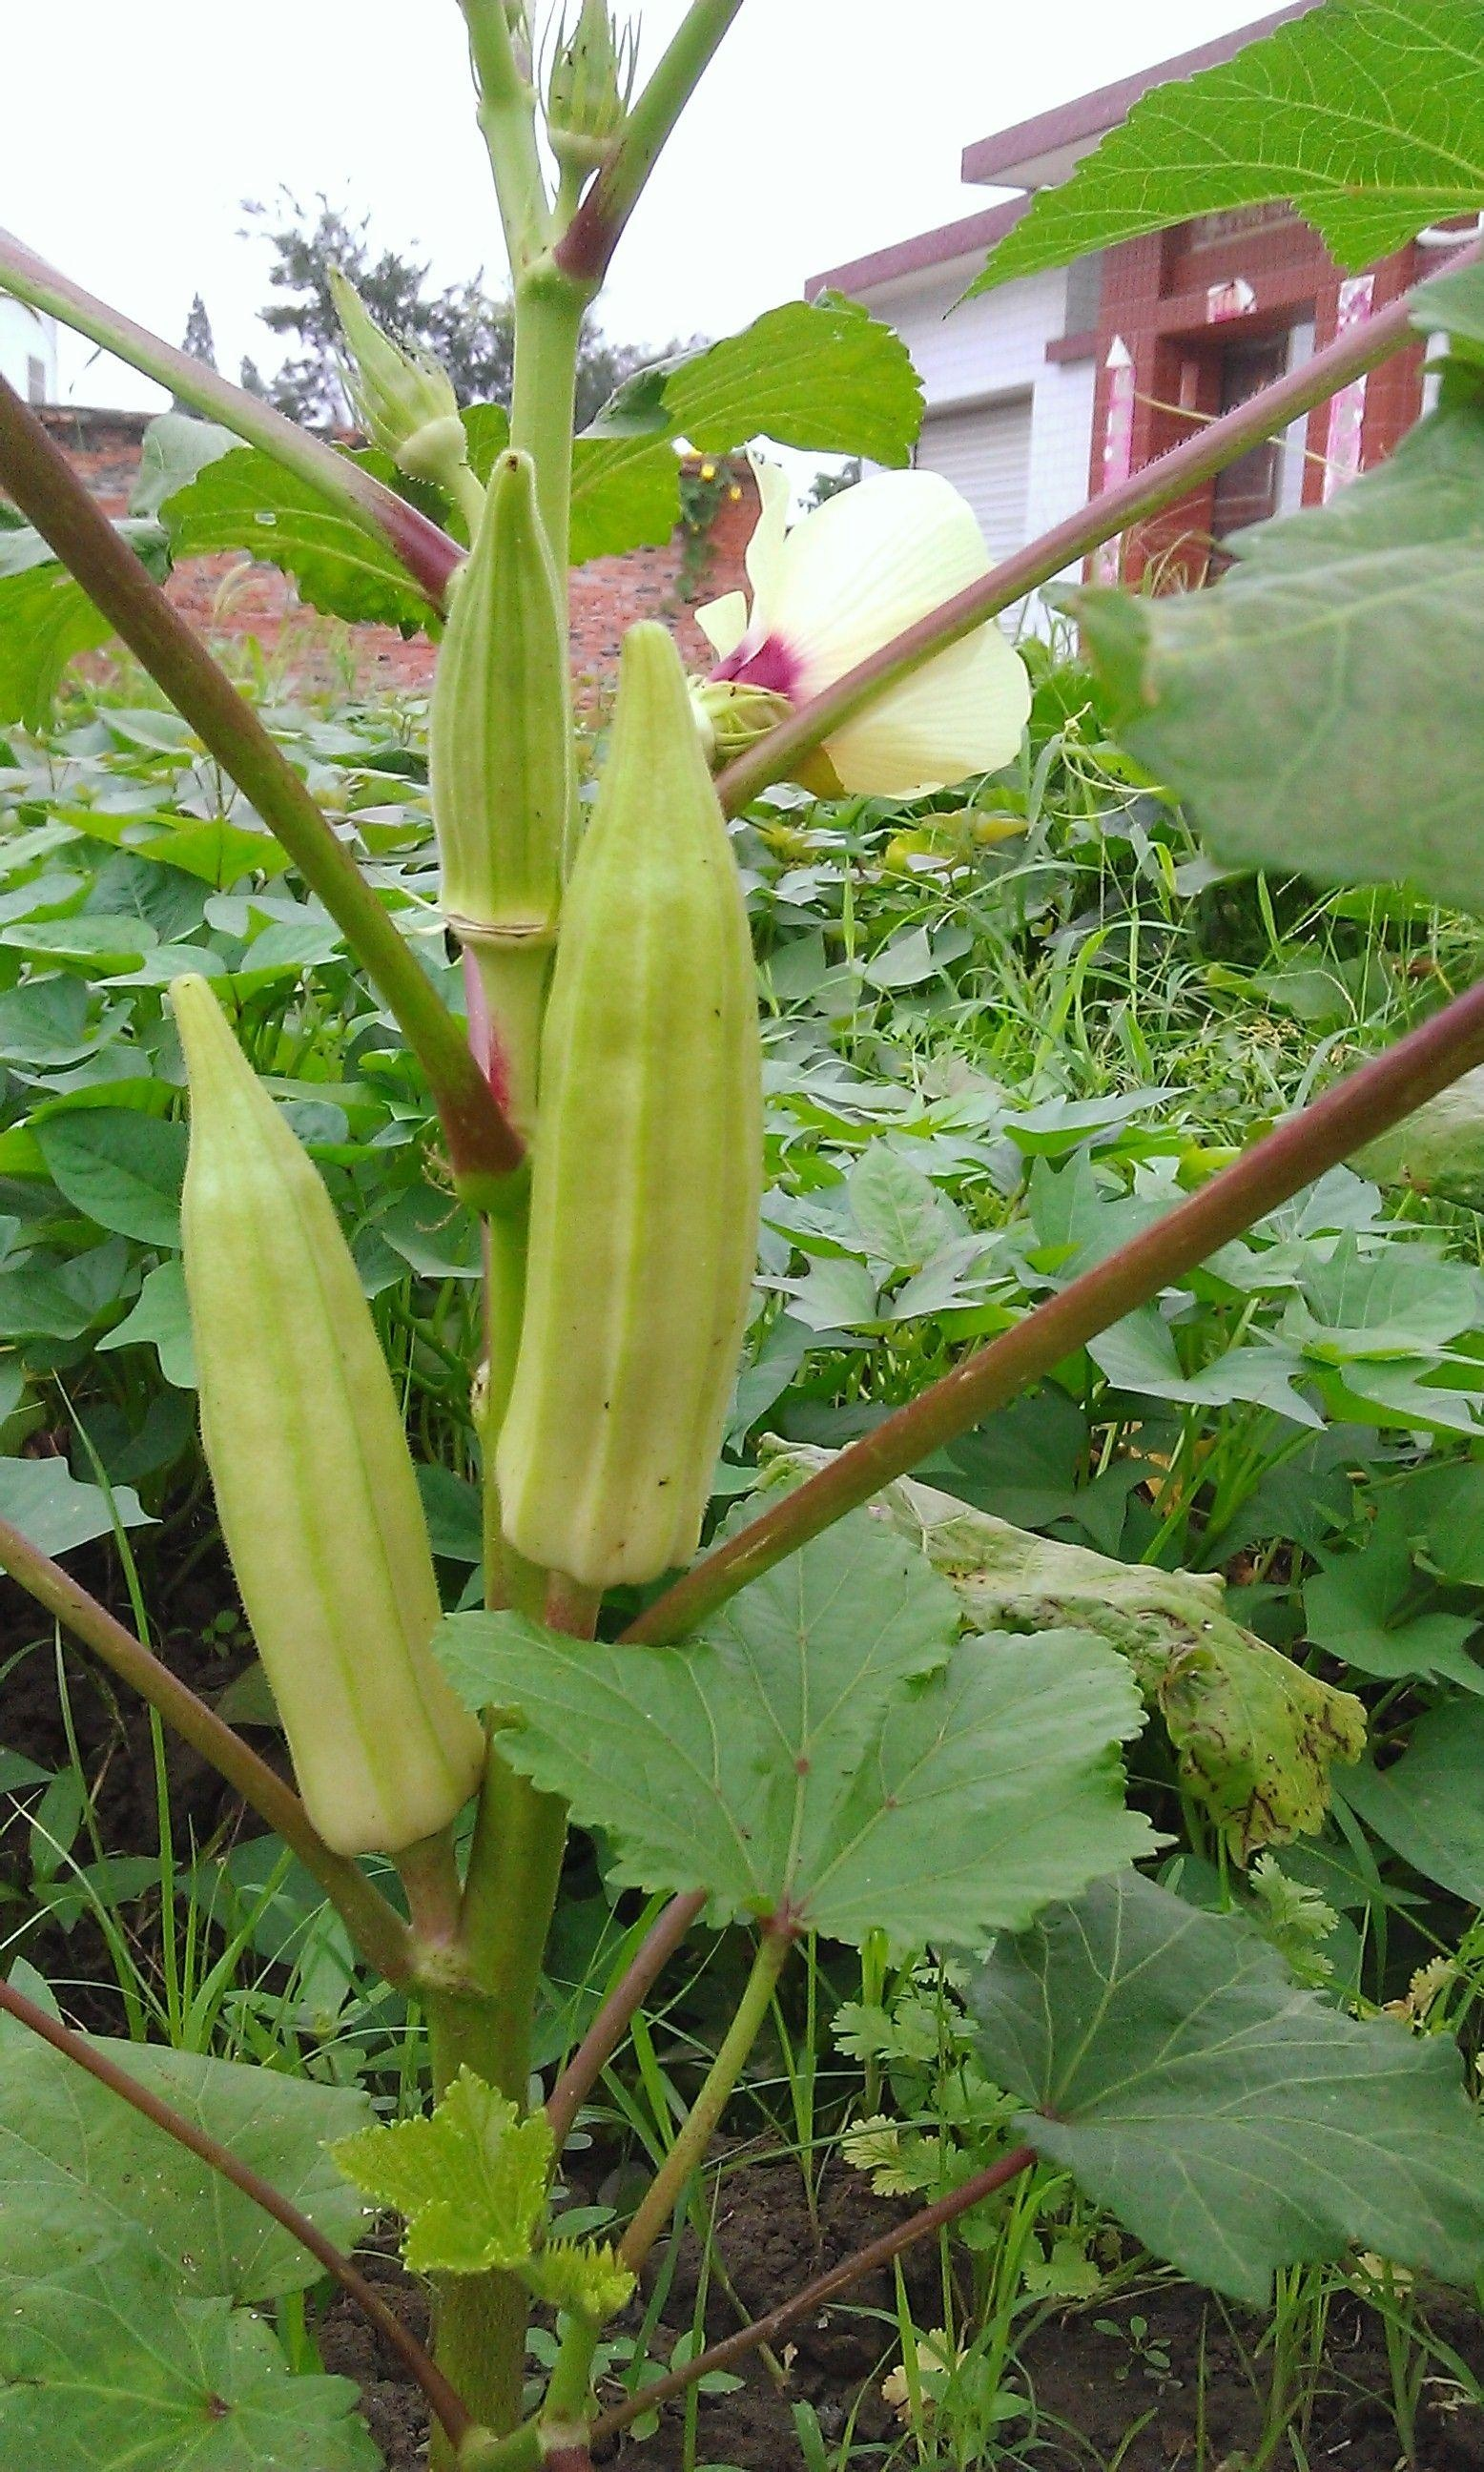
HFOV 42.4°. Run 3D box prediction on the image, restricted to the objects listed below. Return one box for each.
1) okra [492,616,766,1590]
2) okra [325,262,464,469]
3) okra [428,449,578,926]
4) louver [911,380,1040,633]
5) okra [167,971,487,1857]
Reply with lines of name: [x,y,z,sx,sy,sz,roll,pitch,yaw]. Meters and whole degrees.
okra: [-0.041,-0.026,0.582,0.093,0.303,0.047,-3,19,1]
okra: [-0.116,-0.292,0.642,0.038,0.061,0.033,-6,19,-8]
okra: [-0.073,-0.155,0.570,0.045,0.140,0.046,-6,19,-7]
louver: [0.977,-3.268,7.999,0.472,0.064,0.828,-9,-18,-1]
okra: [-0.147,0.067,0.639,0.072,0.302,0.092,-21,25,-40]
